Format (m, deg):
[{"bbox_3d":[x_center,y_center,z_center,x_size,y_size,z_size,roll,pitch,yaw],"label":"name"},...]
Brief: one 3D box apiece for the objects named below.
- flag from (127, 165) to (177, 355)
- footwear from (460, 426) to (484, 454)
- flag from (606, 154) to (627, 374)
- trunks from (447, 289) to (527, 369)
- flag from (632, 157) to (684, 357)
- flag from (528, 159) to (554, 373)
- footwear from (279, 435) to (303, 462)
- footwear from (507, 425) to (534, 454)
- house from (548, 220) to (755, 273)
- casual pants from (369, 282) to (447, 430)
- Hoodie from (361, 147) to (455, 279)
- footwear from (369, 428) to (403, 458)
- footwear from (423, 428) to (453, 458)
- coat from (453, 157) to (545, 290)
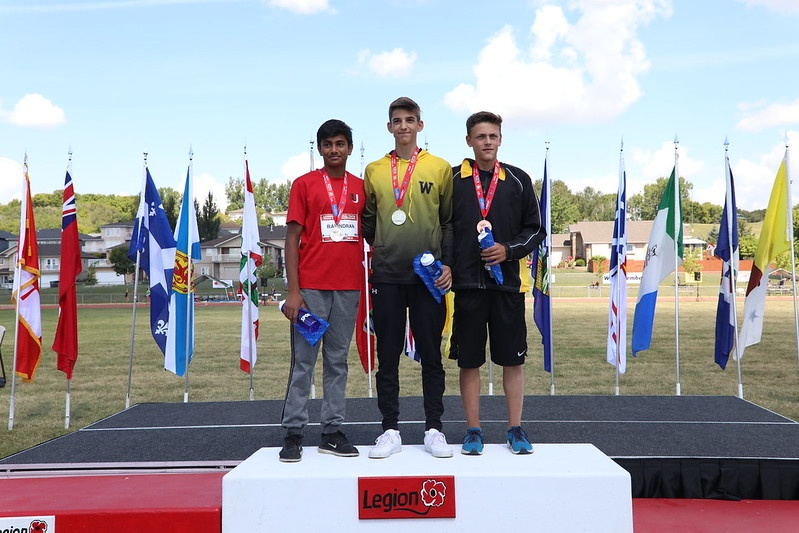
[{"bbox_3d":[-3.834,-0.094,14.535,0.662,2.810,0.369,0,5,-6],"label":"flag"},{"bbox_3d":[0.893,2.162,11.471,0.280,0.279,0.257,1,5,4],"label":"footwear"},{"bbox_3d":[3.474,0.037,14.766,0.272,3.441,0.726,2,5,13],"label":"flag"},{"bbox_3d":[1.120,0.789,11.848,1.104,1.241,0.469,2,-11,-3],"label":"trunks"},{"bbox_3d":[4.105,-0.139,14.805,0.685,3.066,0.531,2,5,16],"label":"flag"},{"bbox_3d":[2.190,0.160,14.475,0.454,3.596,0.449,-3,-5,18],"label":"flag"},{"bbox_3d":[-1.341,2.236,11.427,0.282,0.270,0.312,0,5,-5],"label":"footwear"},{"bbox_3d":[1.491,2.155,11.529,0.312,0.281,0.323,1,5,6],"label":"footwear"},{"bbox_3d":[11.635,-0.842,44.431,5.496,1.591,3.919,-2,9,12],"label":"house"},{"bbox_3d":[0.114,1.113,11.827,0.956,0.556,2.224,2,48,-3],"label":"casual pants"},{"bbox_3d":[0.093,-0.590,11.657,1.594,2.109,0.945,1,-8,-5],"label":"Hoodie"},{"bbox_3d":[-0.179,2.183,11.455,0.401,0.305,0.283,1,5,-1],"label":"footwear"},{"bbox_3d":[0.458,2.171,11.462,0.244,0.287,0.444,-4,7,-42],"label":"footwear"},{"bbox_3d":[1.183,-0.500,11.780,1.688,1.800,1.015,0,-4,-1],"label":"coat"}]
